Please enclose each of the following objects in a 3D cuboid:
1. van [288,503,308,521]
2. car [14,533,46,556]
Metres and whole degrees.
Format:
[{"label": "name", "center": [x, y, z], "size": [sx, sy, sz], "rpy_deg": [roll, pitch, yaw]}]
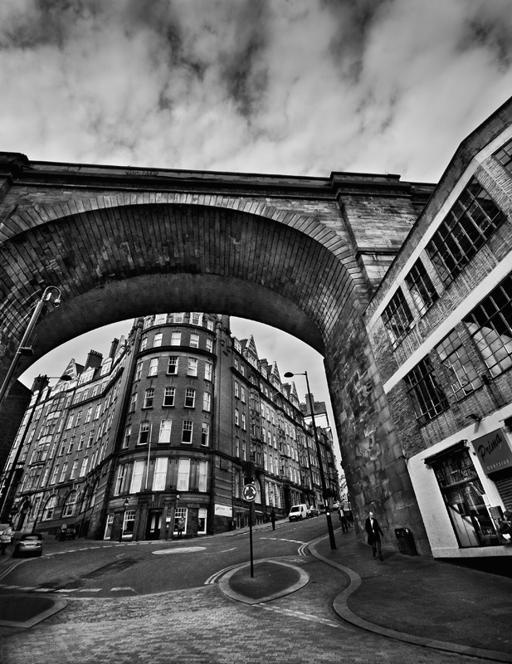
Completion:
[{"label": "van", "center": [5.914, 23.299, 34.287], "size": [2.344, 1.626, 3.357], "rpy_deg": [-22, -45, 21]}, {"label": "car", "center": [-12.995, 13.825, 17.274], "size": [1.152, 0.608, 2.115], "rpy_deg": [5, -5, -24]}]
